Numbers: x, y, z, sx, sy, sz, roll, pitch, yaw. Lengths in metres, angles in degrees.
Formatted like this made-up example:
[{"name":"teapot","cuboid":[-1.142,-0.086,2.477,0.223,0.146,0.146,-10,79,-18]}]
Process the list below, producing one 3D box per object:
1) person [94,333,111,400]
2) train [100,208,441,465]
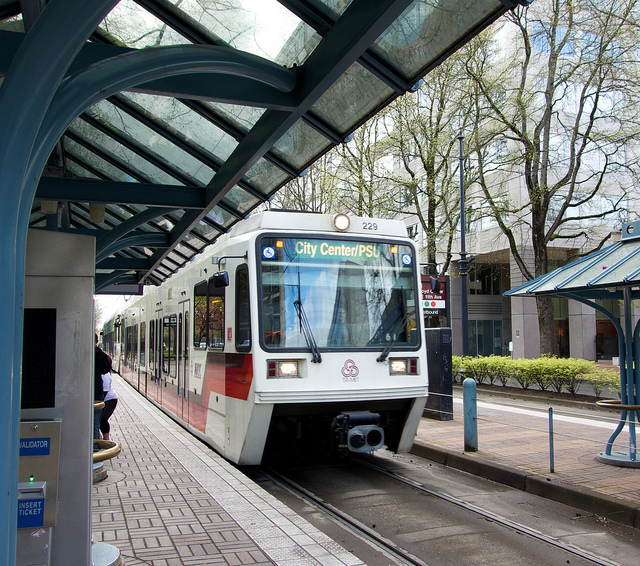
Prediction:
[{"name":"person","cuboid":[-3.095,1.226,7.639,0.219,0.893,0.646,5,-7,-21]},{"name":"train","cuboid":[-2.608,1.518,13.636,2.846,4.216,14.395,5,-8,-23]}]
